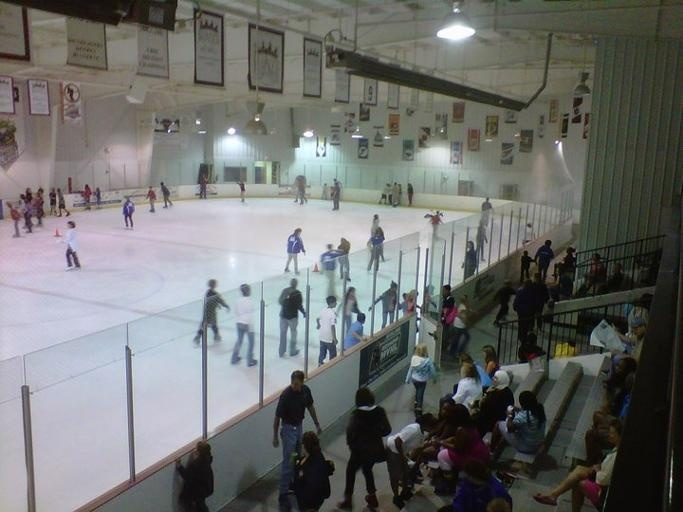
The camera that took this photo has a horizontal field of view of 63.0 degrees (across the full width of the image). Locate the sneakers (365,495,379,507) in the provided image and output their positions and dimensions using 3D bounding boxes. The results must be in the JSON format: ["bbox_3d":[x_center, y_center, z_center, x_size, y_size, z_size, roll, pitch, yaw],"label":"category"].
[{"bbox_3d":[0.399,3.278,7.478,0.178,0.177,0.111,-4,0,36],"label":"sneakers"}]

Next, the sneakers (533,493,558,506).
[{"bbox_3d":[2.450,2.946,6.719,0.271,0.108,0.081,8,-2,13],"label":"sneakers"}]
